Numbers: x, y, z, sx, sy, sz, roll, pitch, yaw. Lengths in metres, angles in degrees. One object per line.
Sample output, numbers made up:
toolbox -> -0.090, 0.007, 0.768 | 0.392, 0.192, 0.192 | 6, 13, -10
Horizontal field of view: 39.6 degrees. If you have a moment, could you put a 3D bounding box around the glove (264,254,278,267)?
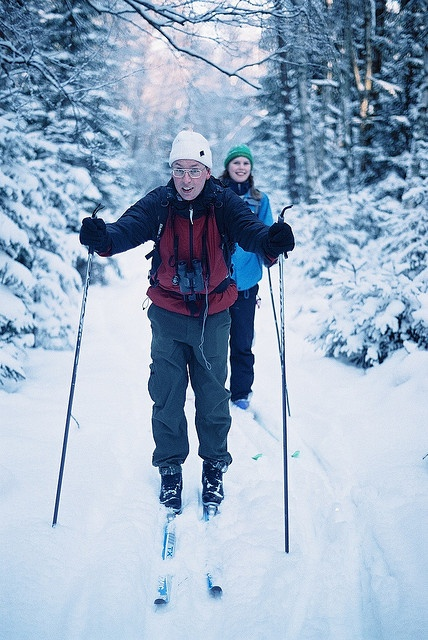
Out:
glove -> 0.321, -0.335, 3.298 | 0.048, 0.057, 0.061 | 1, -1, 1

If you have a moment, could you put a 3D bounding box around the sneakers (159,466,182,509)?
sneakers -> -0.264, 1.016, 3.562 | 0.097, 0.129, 0.282 | 0, 9, -4

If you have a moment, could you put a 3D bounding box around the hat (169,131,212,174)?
hat -> -0.139, -0.956, 3.448 | 0.190, 0.210, 0.248 | -1, 2, 6

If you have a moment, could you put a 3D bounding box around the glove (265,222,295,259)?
glove -> 0.344, -0.421, 3.170 | 0.129, 0.179, 0.069 | -1, 9, -1

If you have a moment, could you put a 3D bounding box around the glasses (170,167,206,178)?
glasses -> -0.155, -0.825, 3.350 | 0.189, 0.064, 0.096 | 5, 9, 4

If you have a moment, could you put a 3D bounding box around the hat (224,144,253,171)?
hat -> 0.197, -1.327, 4.890 | 0.170, 0.127, 0.212 | 1, -23, -5

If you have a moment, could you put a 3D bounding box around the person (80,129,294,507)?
person -> -0.145, 0.034, 3.483 | 1.095, 2.225, 0.551 | 4, 8, 4

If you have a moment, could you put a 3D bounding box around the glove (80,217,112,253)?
glove -> -0.645, -0.451, 3.200 | 0.142, 0.195, 0.070 | 18, 37, 14
